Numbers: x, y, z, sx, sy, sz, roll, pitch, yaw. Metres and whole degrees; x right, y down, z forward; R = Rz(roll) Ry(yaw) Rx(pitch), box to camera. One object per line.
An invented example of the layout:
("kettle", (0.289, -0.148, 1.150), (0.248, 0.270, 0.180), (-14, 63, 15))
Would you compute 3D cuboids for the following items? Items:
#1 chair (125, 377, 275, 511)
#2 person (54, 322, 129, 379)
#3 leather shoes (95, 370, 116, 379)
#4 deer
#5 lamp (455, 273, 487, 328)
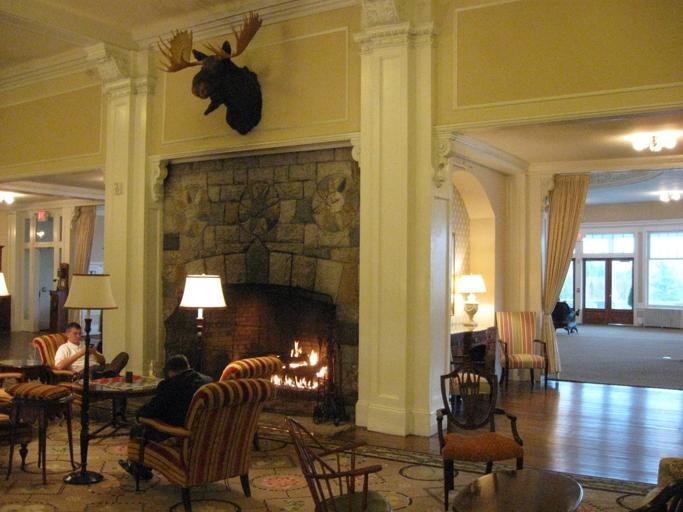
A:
("chair", (-1.234, 1.669, 5.328), (0.966, 1.188, 1.216), (6, -7, -44))
("person", (-3.225, 1.359, 7.598), (1.162, 0.863, 0.758), (-15, -11, 41))
("leather shoes", (-2.961, 1.477, 7.027), (0.148, 0.050, 0.153), (1, -4, -10))
("deer", (-1.640, -2.305, 7.299), (1.477, 1.342, 0.915), (-5, -3, 19))
("lamp", (2.153, 0.716, 9.219), (0.450, 0.857, 0.801), (1, 2, 13))
